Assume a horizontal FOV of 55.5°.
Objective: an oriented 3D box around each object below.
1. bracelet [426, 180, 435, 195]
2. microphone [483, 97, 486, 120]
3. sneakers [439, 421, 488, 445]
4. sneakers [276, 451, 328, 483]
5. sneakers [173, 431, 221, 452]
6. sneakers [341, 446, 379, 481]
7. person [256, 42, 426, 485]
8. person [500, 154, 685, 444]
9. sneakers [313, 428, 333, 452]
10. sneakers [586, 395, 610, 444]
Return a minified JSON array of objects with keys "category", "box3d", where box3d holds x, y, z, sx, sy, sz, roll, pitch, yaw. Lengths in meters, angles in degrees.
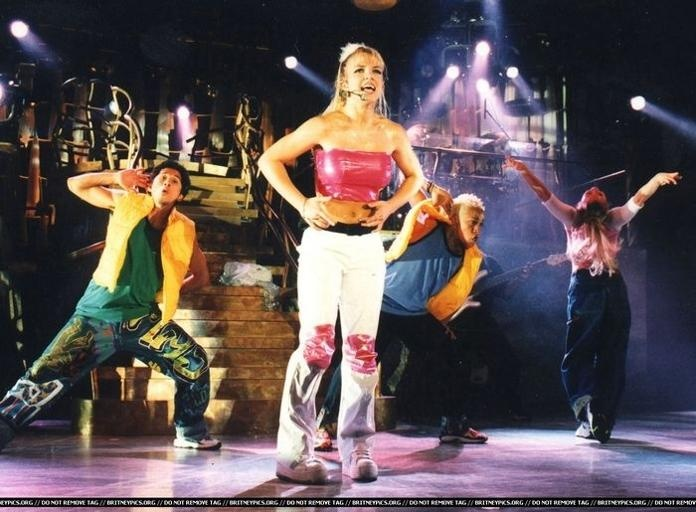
[{"category":"bracelet","box3d":[0.689,-0.588,5.537,0.070,0.093,0.037,0,0,28]},{"category":"microphone","box3d":[2.432,-2.616,11.746,0.082,0.301,0.378,3,-3,11]},{"category":"sneakers","box3d":[0.944,1.482,5.564,0.446,0.189,0.162,-1,6,6]},{"category":"sneakers","box3d":[-0.282,1.316,4.113,0.329,0.144,0.136,-5,-20,30]},{"category":"sneakers","box3d":[-1.170,1.462,5.263,0.388,0.169,0.139,-1,-9,9]},{"category":"sneakers","box3d":[0.072,1.328,4.282,0.152,0.196,0.305,6,-3,-29]},{"category":"person","box3d":[-0.061,-0.006,4.316,0.978,2.853,0.399,4,-4,-3]},{"category":"person","box3d":[2.141,0.491,6.056,0.793,2.277,0.500,3,-4,23]},{"category":"sneakers","box3d":[-0.199,1.485,5.382,0.160,0.151,0.347,4,-18,-4]},{"category":"sneakers","box3d":[2.165,1.422,5.763,0.135,0.356,0.271,5,-3,-11]}]
